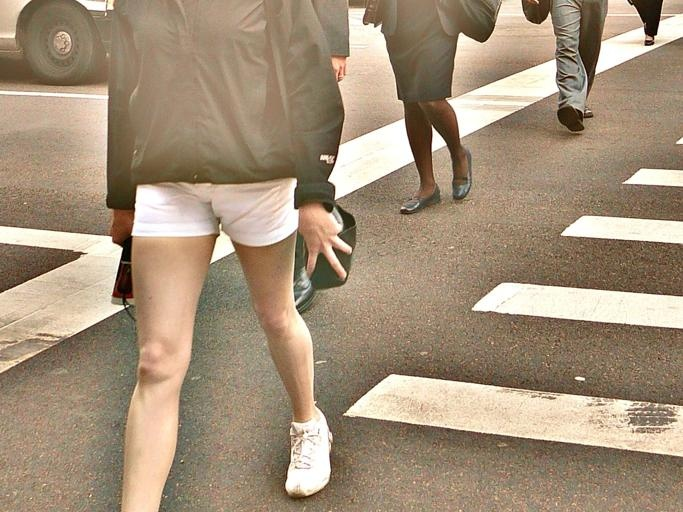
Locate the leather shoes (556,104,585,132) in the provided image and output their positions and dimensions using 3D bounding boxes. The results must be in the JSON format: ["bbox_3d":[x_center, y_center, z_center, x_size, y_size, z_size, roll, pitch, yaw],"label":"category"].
[{"bbox_3d":[2.822,-1.650,7.336,0.183,0.432,0.186,-12,43,43],"label":"leather shoes"}]

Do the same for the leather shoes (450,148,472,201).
[{"bbox_3d":[1.113,-0.746,5.504,0.174,0.469,0.145,4,5,38],"label":"leather shoes"}]

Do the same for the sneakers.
[{"bbox_3d":[-0.124,0.773,2.466,0.133,0.173,0.394,-6,32,4],"label":"sneakers"}]

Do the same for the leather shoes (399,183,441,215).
[{"bbox_3d":[0.718,-0.509,5.369,0.498,0.193,0.172,-20,15,-38],"label":"leather shoes"}]
